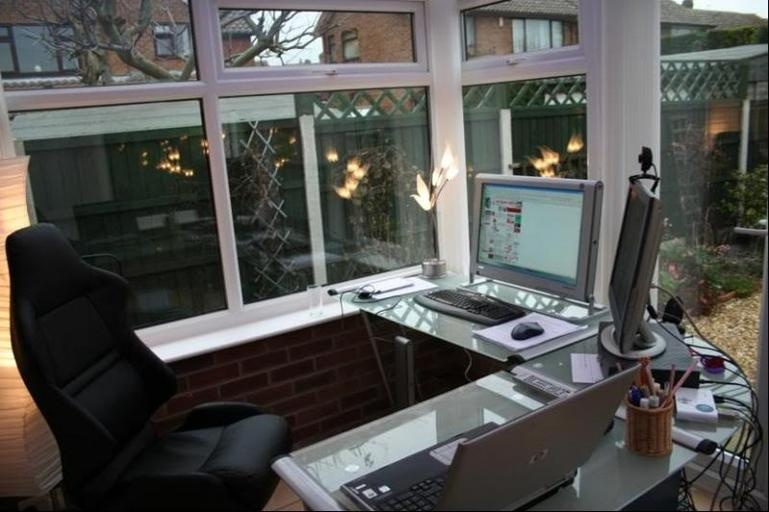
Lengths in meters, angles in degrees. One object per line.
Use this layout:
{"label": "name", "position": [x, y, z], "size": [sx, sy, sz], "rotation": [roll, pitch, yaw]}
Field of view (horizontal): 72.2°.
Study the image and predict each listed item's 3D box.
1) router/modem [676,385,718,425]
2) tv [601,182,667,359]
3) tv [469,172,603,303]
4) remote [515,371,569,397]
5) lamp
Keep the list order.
{"label": "router/modem", "position": [1.136, 0.542, 1.938], "size": [0.162, 0.031, 0.169], "rotation": [-4, 26, 12]}
{"label": "tv", "position": [1.076, 0.066, 2.251], "size": [0.259, 0.694, 0.699], "rotation": [4, 14, 17]}
{"label": "tv", "position": [0.727, -0.095, 2.715], "size": [0.784, 0.559, 0.076], "rotation": [6, -3, -26]}
{"label": "remote", "position": [0.629, 0.502, 2.111], "size": [0.075, 0.019, 0.135], "rotation": [-19, 27, -38]}
{"label": "lamp", "position": [0.343, -0.314, 3.504], "size": [0.355, 0.798, 0.566], "rotation": [-5, 13, 7]}
